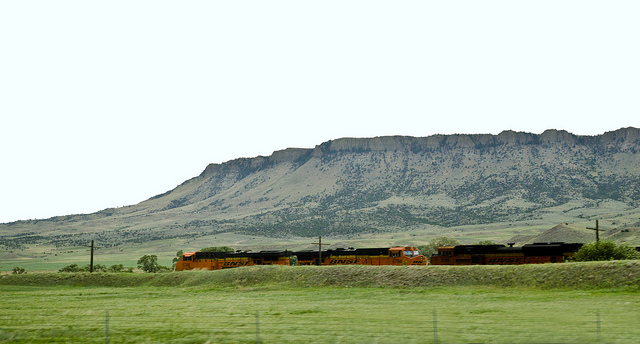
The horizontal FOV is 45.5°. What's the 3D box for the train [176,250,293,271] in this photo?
[{"bbox_3d":[-29.608,30.723,264.370,39.549,6.759,6.765,-1,-3,12],"label":"train"}]
